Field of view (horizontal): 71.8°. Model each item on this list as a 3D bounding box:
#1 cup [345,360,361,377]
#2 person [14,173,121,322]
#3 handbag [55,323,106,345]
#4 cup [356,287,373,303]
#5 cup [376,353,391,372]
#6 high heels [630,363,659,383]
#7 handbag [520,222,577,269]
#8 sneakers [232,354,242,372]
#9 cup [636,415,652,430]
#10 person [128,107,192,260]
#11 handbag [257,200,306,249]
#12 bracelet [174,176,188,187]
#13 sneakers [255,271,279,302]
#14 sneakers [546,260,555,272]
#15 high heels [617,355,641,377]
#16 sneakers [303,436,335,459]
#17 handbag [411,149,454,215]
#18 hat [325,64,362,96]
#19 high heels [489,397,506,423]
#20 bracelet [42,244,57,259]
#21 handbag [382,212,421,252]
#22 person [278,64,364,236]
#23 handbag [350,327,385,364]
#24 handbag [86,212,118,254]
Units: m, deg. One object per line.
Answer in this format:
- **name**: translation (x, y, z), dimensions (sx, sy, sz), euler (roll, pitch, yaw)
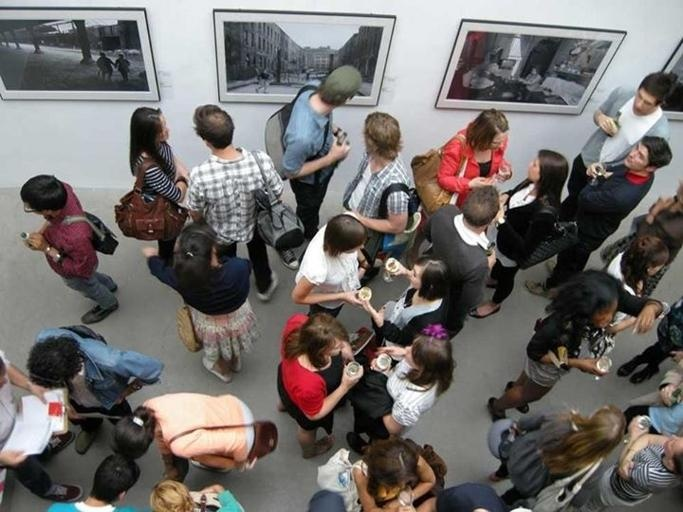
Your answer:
- **cup**: translation (0.091, 0.831, 3.455), dimensions (0.124, 0.068, 0.110), euler (-9, 39, -22)
- **person**: translation (-2.600, -0.012, 4.407), dimensions (0.502, 1.298, 0.605), euler (-18, 77, -24)
- **handbag**: translation (-1.990, 0.596, 3.573), dimensions (0.295, 0.120, 0.102), euler (26, 54, -5)
- **cup**: translation (0.195, 0.302, 3.822), dimensions (0.119, 0.077, 0.128), euler (3, 74, -9)
- **cup**: translation (0.326, 0.825, 3.637), dimensions (0.096, 0.156, 0.098), euler (1, 78, -6)
- **high heels**: translation (2.944, 1.139, 4.566), dimensions (0.236, 0.103, 0.083), euler (-28, 49, 22)
- **handbag**: translation (1.889, -0.097, 4.268), dimensions (0.424, 0.159, 0.362), euler (-33, 23, 2)
- **sneakers**: translation (-0.953, 0.981, 4.325), dimensions (0.063, 0.083, 0.200), euler (-5, 19, -11)
- **cup**: translation (2.276, 1.249, 3.553), dimensions (0.074, 0.040, 0.101), euler (42, 89, 12)
- **person**: translation (-1.592, -0.630, 4.112), dimensions (0.436, 1.401, 0.476), euler (-11, 68, -16)
- **handbag**: translation (-0.553, -0.279, 4.232), dimensions (0.283, 0.382, 0.208), euler (-30, 30, 5)
- **bracelet**: translation (-1.449, -0.676, 4.286), dimensions (0.084, 0.037, 0.092), euler (7, 25, 10)
- **sneakers**: translation (-0.765, 0.348, 4.809), dimensions (0.128, 0.145, 0.376), euler (7, 85, 3)
- **sneakers**: translation (2.371, 0.117, 5.331), dimensions (0.042, 0.055, 0.135), euler (-5, 61, 1)
- **high heels**: translation (2.833, 1.086, 4.627), dimensions (0.228, 0.090, 0.078), euler (-43, 75, 7)
- **sneakers**: translation (-0.199, 1.608, 3.955), dimensions (0.217, 0.217, 0.107), euler (-20, 61, -15)
- **handbag**: translation (0.869, -0.686, 4.438), dimensions (0.254, 0.473, 0.500), euler (-1, 55, -40)
- **hat**: translation (0.019, -1.518, 4.165), dimensions (0.279, 0.236, 0.228), euler (-28, 13, -4)
- **high heels**: translation (1.430, 1.439, 4.341), dimensions (0.095, 0.262, 0.091), euler (-3, 22, 29)
- **bracelet**: translation (-2.433, -0.022, 3.967), dimensions (0.131, 0.098, 0.055), euler (39, 82, 6)
- **handbag**: translation (0.553, -0.175, 4.707), dimensions (0.322, 0.447, 0.580), euler (14, 15, 0)
- **person**: translation (-0.292, -0.850, 4.561), dimensions (0.686, 1.886, 0.419), euler (-13, 40, -27)
- **handbag**: translation (0.206, 0.776, 4.147), dimensions (0.249, 0.089, 0.254), euler (38, 77, -9)
- **handbag**: translation (-2.195, -0.194, 4.321), dimensions (0.177, 0.323, 0.284), euler (-20, 63, -14)
